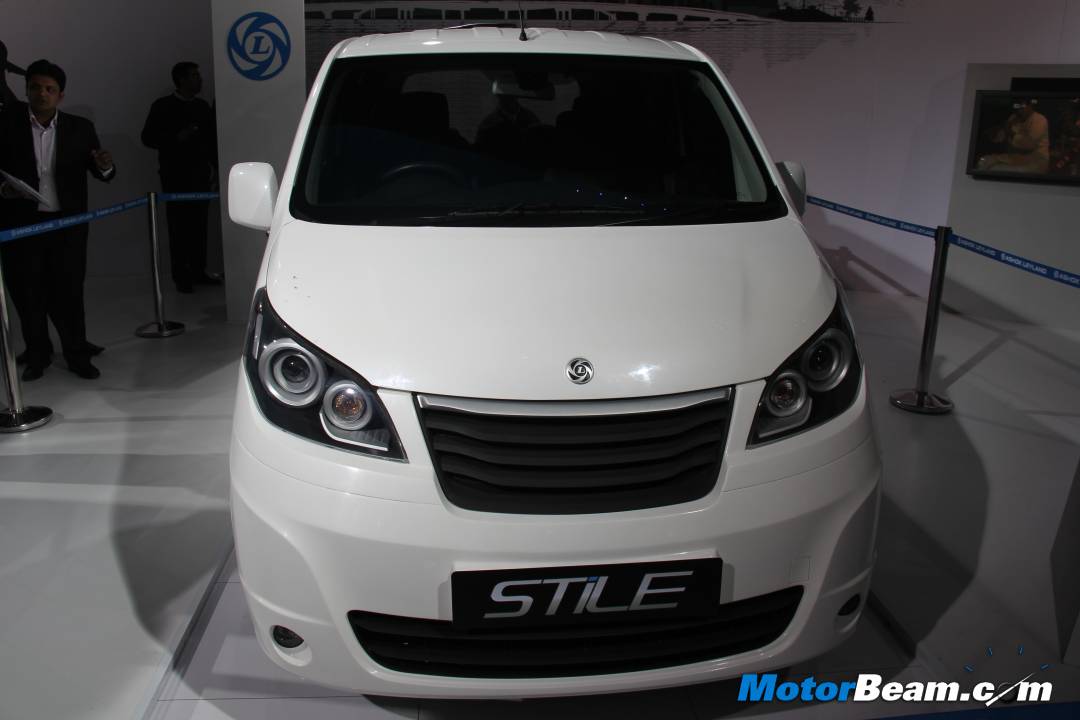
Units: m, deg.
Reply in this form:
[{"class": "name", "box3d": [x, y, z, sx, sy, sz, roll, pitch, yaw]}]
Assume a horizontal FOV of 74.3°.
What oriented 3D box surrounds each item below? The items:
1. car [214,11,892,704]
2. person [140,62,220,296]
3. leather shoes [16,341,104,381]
[{"class": "car", "box3d": [-0.089, -0.338, 3.002, 1.577, 1.394, 2.758, -1, 16, -5]}, {"class": "person", "box3d": [-3.614, -1.852, 7.291, 0.556, 2.208, 0.619, 11, 15, 19]}, {"class": "leather shoes", "box3d": [-3.339, 0.010, 4.929, 0.574, 0.246, 0.180, 4, 12, -15]}]
